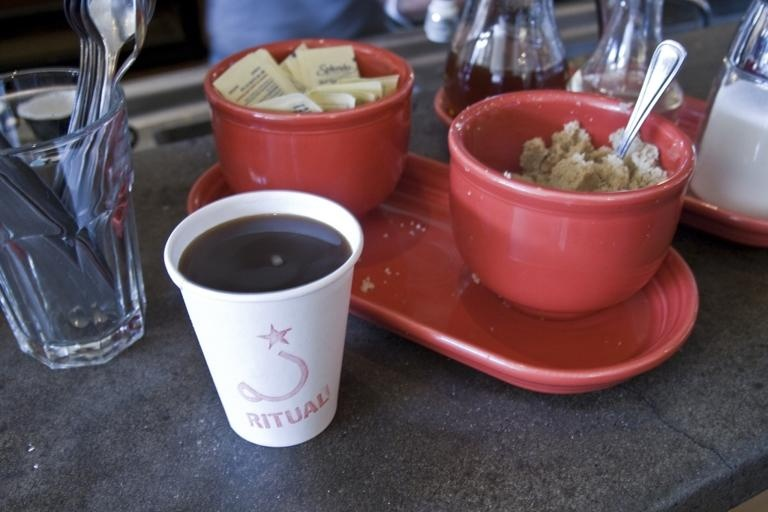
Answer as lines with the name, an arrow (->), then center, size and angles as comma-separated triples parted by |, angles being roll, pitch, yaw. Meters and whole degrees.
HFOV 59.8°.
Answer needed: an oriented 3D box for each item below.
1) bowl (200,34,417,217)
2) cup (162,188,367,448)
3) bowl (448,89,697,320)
bowl -> -0.089, -0.125, 0.817 | 0.209, 0.163, 0.207 | 0, 35, 0
cup -> -0.111, 0.070, 0.669 | 0.184, 0.200, 0.187 | 0, 31, 0
bowl -> 0.204, -0.047, 0.764 | 0.252, 0.187, 0.259 | -1, 33, 1
